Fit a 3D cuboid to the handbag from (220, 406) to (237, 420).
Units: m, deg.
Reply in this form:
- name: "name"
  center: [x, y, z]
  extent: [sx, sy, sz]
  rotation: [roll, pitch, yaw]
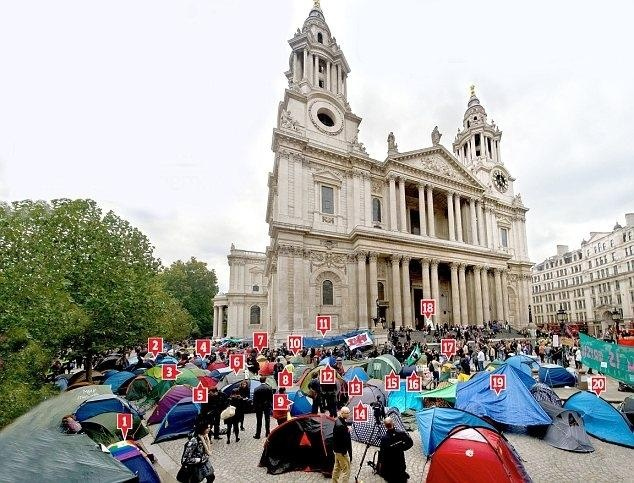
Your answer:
- name: "handbag"
  center: [-3.062, 6.127, 15.769]
  extent: [0.560, 0.225, 0.425]
  rotation: [-30, 5, -18]

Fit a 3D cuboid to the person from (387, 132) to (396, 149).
- name: "person"
  center: [8.200, -10.567, 47.546]
  extent: [0.681, 2.041, 0.601]
  rotation: [-8, -16, 21]
